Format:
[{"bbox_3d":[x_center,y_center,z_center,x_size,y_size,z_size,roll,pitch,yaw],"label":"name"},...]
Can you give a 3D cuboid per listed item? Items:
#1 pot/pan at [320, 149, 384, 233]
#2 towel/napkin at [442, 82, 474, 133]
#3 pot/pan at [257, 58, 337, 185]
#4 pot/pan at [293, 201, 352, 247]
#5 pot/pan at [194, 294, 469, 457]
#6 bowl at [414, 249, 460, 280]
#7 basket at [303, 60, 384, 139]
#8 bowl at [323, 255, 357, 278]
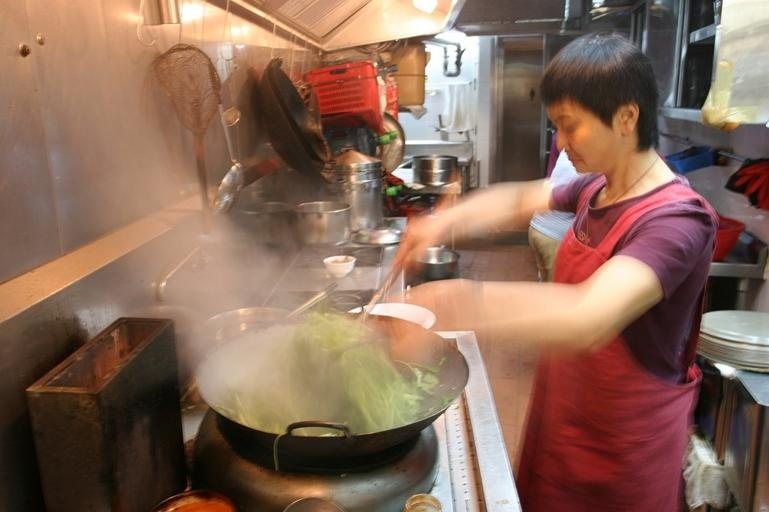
[{"bbox_3d":[-0.176,-0.401,3.134,0.411,0.436,0.393,6,21,18],"label":"pot/pan"},{"bbox_3d":[1.112,-2.278,8.011,0.471,0.809,0.497,-18,26,-35],"label":"towel/napkin"},{"bbox_3d":[-0.430,-0.646,2.590,0.350,0.589,0.324,-7,15,-23],"label":"pot/pan"},{"bbox_3d":[-0.321,-0.170,2.802,0.298,0.184,0.292,-5,18,-13],"label":"pot/pan"},{"bbox_3d":[-0.139,0.325,1.464,0.665,0.151,0.650,9,19,-6],"label":"pot/pan"},{"bbox_3d":[0.367,0.072,3.584,0.249,0.109,0.243,-3,21,1],"label":"bowl"},{"bbox_3d":[-0.197,-1.011,3.353,0.461,0.407,0.461,-1,11,23],"label":"basket"},{"bbox_3d":[-0.207,0.037,2.438,0.112,0.060,0.110,-5,9,1],"label":"bowl"}]
